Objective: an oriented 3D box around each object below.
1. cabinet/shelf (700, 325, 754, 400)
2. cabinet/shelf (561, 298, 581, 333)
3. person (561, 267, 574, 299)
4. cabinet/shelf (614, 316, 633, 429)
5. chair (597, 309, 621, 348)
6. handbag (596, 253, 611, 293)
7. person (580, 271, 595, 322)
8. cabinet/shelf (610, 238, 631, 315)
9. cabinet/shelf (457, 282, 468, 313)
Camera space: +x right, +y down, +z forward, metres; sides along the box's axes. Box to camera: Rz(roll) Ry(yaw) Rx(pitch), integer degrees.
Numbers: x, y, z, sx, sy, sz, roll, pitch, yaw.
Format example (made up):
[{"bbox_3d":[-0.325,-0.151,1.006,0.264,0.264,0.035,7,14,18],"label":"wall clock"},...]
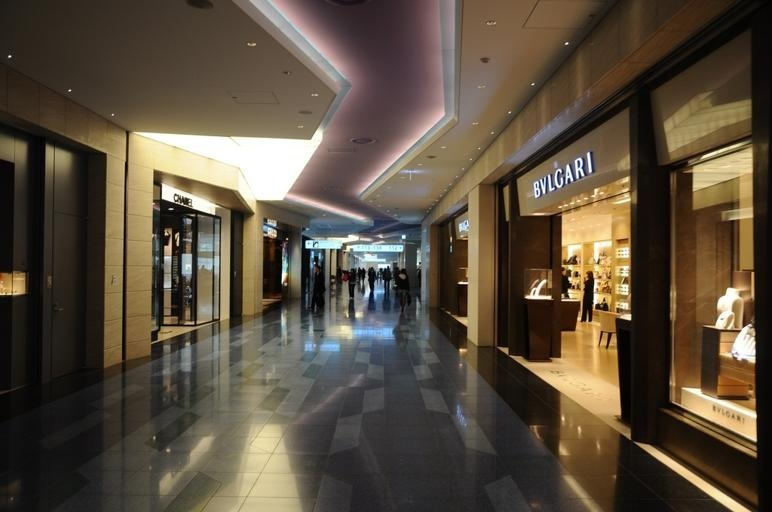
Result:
[{"bbox_3d":[3.793,1.175,5.654,0.268,0.767,0.832,1,-3,-2],"label":"cabinet/shelf"},{"bbox_3d":[4.770,1.530,13.437,0.626,0.831,0.322,-1,5,-18],"label":"cabinet/shelf"},{"bbox_3d":[5.410,0.844,15.297,0.286,0.833,1.819,2,5,20],"label":"person"},{"bbox_3d":[3.134,1.486,6.778,0.158,1.413,0.411,1,5,8],"label":"cabinet/shelf"},{"bbox_3d":[5.014,1.609,11.441,0.565,0.806,0.626,2,-1,5],"label":"chair"},{"bbox_3d":[6.120,0.462,14.457,0.335,1.021,1.053,1,-4,4],"label":"handbag"},{"bbox_3d":[5.640,1.127,14.383,0.308,1.543,0.841,2,5,21],"label":"person"},{"bbox_3d":[6.111,0.568,13.276,0.450,2.280,0.266,0,-4,35],"label":"cabinet/shelf"},{"bbox_3d":[2.507,1.417,16.998,0.225,1.059,0.428,-1,5,-8],"label":"cabinet/shelf"}]
